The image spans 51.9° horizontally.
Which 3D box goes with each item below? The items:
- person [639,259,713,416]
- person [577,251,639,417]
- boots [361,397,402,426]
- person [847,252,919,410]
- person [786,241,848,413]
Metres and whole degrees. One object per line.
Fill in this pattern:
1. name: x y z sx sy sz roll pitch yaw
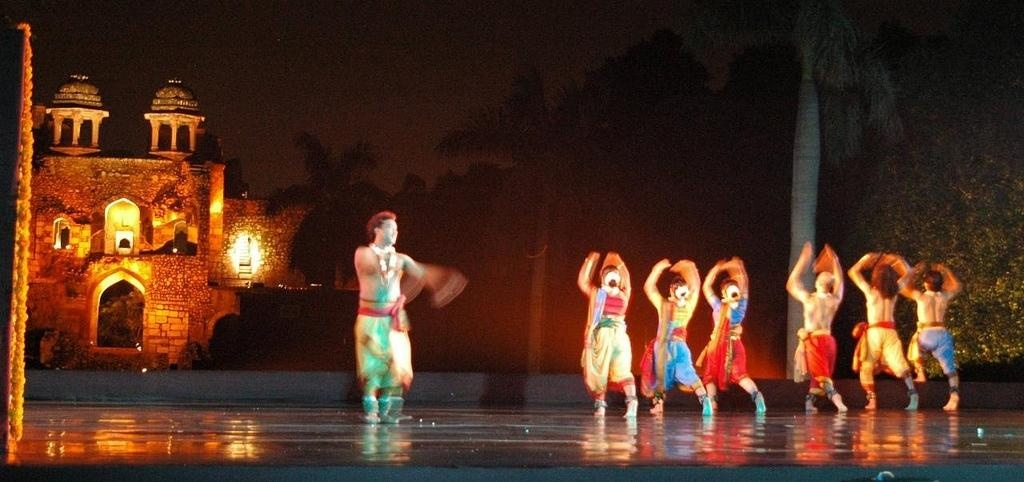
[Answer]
1. person: 2.733 1.570 17.455 1.159 2.589 0.667 0 -12 5
2. person: 1.557 1.501 17.103 0.912 2.674 0.618 0 -12 6
3. boots: -1.954 2.541 15.831 0.430 0.176 0.515 9 -8 -32
4. person: 6.437 1.517 18.289 1.044 2.800 0.745 -1 -12 12
5. person: 5.313 1.455 18.111 0.903 2.936 0.841 -10 -16 43
